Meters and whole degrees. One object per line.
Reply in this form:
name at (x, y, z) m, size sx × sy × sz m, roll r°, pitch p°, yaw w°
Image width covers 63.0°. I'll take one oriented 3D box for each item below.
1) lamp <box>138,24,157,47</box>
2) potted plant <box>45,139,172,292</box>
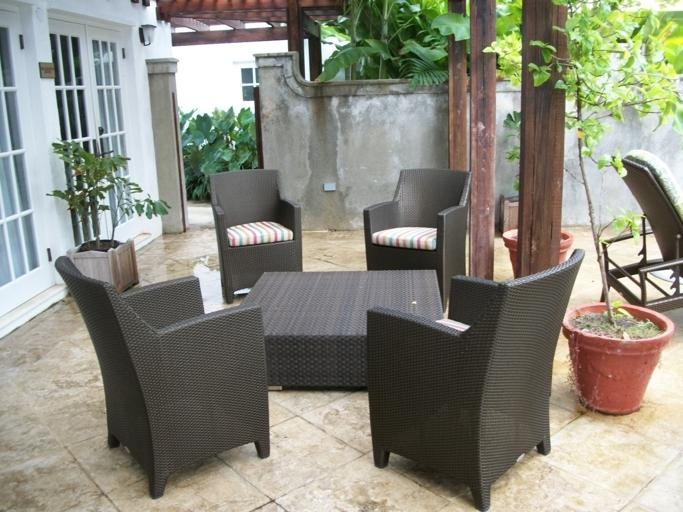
lamp at (-2.666, -3.037, 7.746) m, size 0.209 × 0.292 × 0.503 m, roll -6°, pitch 16°, yaw -9°
potted plant at (-2.321, -0.365, 5.555) m, size 1.131 × 1.445 × 0.656 m, roll 0°, pitch 12°, yaw -18°
